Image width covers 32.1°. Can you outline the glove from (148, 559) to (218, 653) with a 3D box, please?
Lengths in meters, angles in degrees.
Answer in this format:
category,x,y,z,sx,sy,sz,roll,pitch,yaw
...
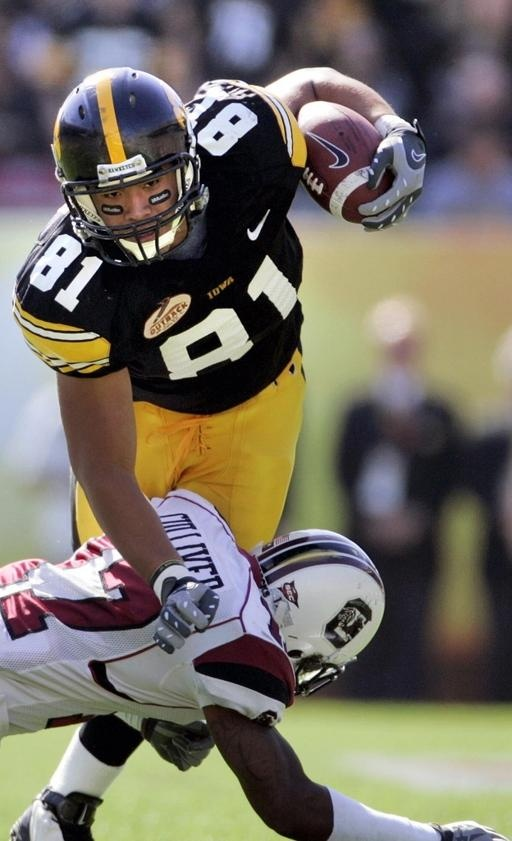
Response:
category,x,y,z,sx,sy,sz,roll,pitch,yaw
glove,-0.093,0.234,1.099,0.078,0.108,0.077,-37,84,-11

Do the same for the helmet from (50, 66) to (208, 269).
category,x,y,z,sx,sy,sz,roll,pitch,yaw
helmet,-0.164,-0.361,1.252,0.210,0.224,0.265,-15,43,10
